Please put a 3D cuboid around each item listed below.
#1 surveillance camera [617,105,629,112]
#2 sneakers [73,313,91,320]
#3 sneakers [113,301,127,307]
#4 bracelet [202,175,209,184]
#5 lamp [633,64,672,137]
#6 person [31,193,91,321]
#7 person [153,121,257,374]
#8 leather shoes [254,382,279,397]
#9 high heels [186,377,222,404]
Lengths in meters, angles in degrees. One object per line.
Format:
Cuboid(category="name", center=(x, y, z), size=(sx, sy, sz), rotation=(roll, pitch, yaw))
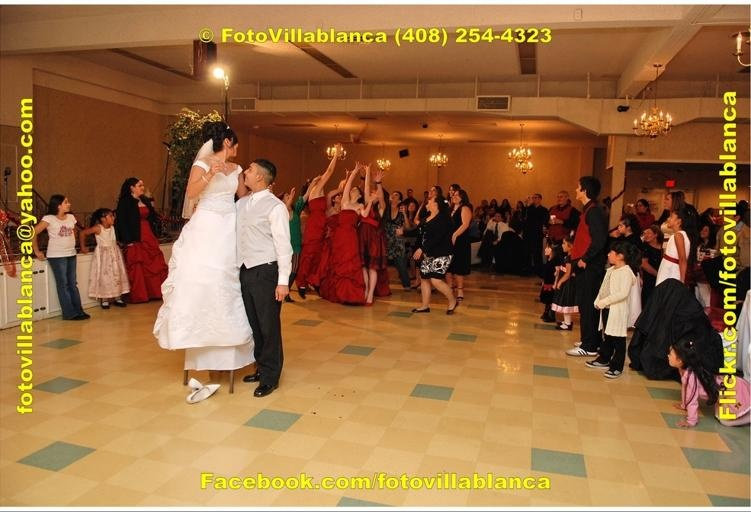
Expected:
Cuboid(category="surveillance camera", center=(5.523, -3.257, 11.128), size=(0.300, 0.125, 0.110), rotation=(-1, 11, -9))
Cuboid(category="sneakers", center=(-4.060, 0.843, 6.944), size=(0.207, 0.089, 0.073), rotation=(-5, 7, -13))
Cuboid(category="sneakers", center=(-3.918, 0.730, 7.682), size=(0.233, 0.090, 0.085), rotation=(3, 8, 11))
Cuboid(category="bracelet", center=(-1.531, -0.689, 4.520), size=(0.050, 0.068, 0.048), rotation=(-1, 11, -9))
Cuboid(category="lamp", center=(5.457, -2.974, 9.720), size=(0.698, 1.280, 0.722), rotation=(-17, 25, -14))
Cuboid(category="person", center=(-4.278, 0.032, 6.863), size=(0.518, 1.665, 0.482), rotation=(-3, 12, -22))
Cuboid(category="person", center=(-1.608, 0.013, 4.709), size=(0.860, 2.476, 0.456), rotation=(-3, 12, -22))
Cuboid(category="leather shoes", center=(-1.063, 1.303, 4.885), size=(0.083, 0.093, 0.225), rotation=(0, -3, 24))
Cuboid(category="high heels", center=(-1.639, 1.251, 4.809), size=(0.394, 0.211, 0.130), rotation=(-14, 19, -36))
